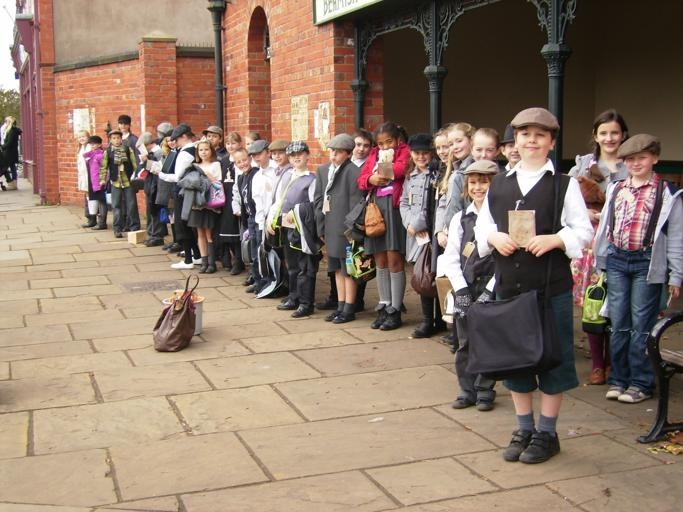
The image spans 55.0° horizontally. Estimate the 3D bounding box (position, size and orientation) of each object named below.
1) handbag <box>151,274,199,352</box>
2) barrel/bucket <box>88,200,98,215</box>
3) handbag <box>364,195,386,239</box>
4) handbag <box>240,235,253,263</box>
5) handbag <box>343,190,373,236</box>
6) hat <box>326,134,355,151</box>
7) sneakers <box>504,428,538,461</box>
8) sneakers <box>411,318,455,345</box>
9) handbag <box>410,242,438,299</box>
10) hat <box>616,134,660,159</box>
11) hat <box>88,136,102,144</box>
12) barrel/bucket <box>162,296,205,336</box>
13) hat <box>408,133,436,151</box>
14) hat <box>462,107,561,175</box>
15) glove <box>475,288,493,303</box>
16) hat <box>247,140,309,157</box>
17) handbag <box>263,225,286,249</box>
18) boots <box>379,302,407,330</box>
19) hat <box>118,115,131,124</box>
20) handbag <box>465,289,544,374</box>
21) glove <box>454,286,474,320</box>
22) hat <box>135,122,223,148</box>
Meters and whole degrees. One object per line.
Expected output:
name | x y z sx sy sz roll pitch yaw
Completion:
handbag | -1.717 0.624 6.766 0.385 0.636 0.531 6 14 29
barrel/bucket | -5.603 -1.093 14.761 0.342 0.263 0.289 0 -4 -23
handbag | 0.344 -0.410 7.134 0.200 0.425 0.281 -5 13 -16
handbag | -1.348 -0.073 9.302 0.110 0.427 0.361 -4 12 -12
handbag | 0.148 -0.425 7.253 0.222 0.410 0.366 7 10 -24
hat | 0.000 -1.284 7.452 0.301 0.181 0.241 -1 12 0
sneakers | 1.194 1.268 4.438 0.119 0.114 0.348 0 8 43
sneakers | 1.069 0.814 7.067 0.594 0.209 0.188 11 -9 -39
handbag | 0.837 0.129 6.600 0.376 0.577 0.631 7 -1 5
hat | 2.364 -0.863 5.193 0.339 0.186 0.260 0 12 4
hat | -5.347 -2.522 14.250 0.247 0.161 0.245 -11 19 -43
barrel/bucket | -1.627 0.611 7.073 0.559 0.381 0.489 -1 9 -4
hat | 0.810 -1.162 6.734 0.252 0.173 0.224 0 12 5
hat | 1.252 -0.750 4.276 0.284 0.422 0.272 2 13 13
glove | 1.055 0.296 4.890 0.118 0.046 0.137 20 -15 -8
hat | -0.818 -1.365 8.345 0.581 0.149 0.511 0 9 4
handbag | -0.837 -0.250 8.304 0.174 0.277 0.206 0 41 -33
boots | 0.569 0.683 7.358 0.322 0.258 0.181 -5 13 -17
hat | -4.518 -2.837 13.660 0.245 0.134 0.292 0 -9 -10
handbag | 1.047 0.490 4.159 0.640 0.501 0.324 -12 -7 33
glove | 0.929 0.346 5.000 0.184 0.201 0.087 0 -2 36
hat | -2.415 -1.995 10.739 1.096 0.318 0.767 4 7 30
